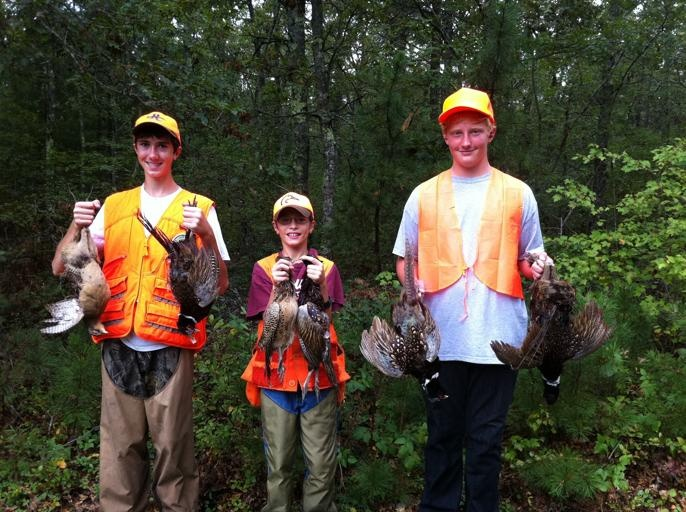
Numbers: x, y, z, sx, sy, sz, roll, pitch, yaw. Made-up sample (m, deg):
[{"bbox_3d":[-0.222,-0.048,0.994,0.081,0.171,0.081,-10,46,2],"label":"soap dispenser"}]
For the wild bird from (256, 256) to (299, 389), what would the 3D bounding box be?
[{"bbox_3d":[-0.733,0.770,7.096,0.420,1.356,0.347,3,6,-8],"label":"wild bird"}]

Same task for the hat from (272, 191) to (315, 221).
[{"bbox_3d":[-0.592,-0.606,7.660,0.311,0.262,0.443,-6,-13,3],"label":"hat"}]

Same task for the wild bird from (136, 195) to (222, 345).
[{"bbox_3d":[-1.783,0.152,7.017,0.800,1.559,0.377,3,7,-13],"label":"wild bird"}]

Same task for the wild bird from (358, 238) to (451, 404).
[{"bbox_3d":[0.702,0.834,7.189,1.024,1.611,0.997,-9,29,1],"label":"wild bird"}]

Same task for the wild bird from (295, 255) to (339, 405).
[{"bbox_3d":[-0.312,0.879,7.203,0.542,1.635,0.398,3,6,-7],"label":"wild bird"}]

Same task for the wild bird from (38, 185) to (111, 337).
[{"bbox_3d":[-2.998,0.287,7.041,0.685,1.210,0.376,1,7,-27],"label":"wild bird"}]
